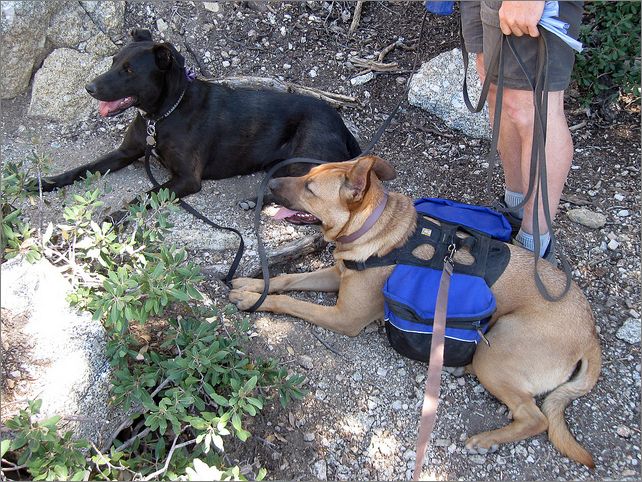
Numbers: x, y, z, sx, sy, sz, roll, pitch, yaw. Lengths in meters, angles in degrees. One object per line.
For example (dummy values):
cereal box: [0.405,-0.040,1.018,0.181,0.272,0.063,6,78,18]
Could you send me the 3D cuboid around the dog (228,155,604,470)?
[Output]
dog: [1.084,0.387,4.500,3.318,1.850,1.529,21,42,12]
